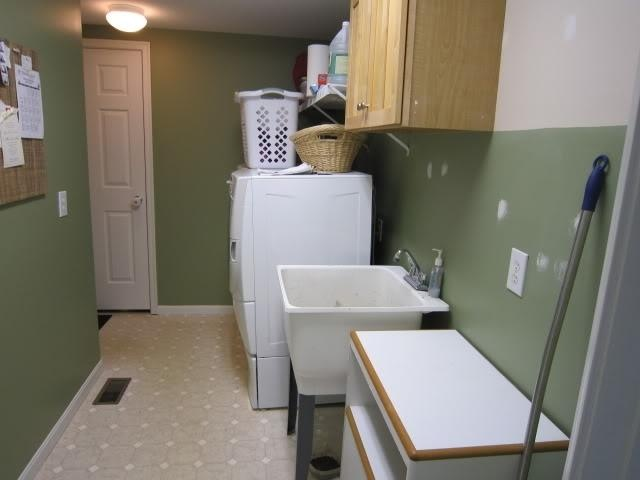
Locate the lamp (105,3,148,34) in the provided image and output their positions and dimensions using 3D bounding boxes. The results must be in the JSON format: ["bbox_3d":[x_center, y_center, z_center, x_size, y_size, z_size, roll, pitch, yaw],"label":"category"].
[{"bbox_3d":[-1.298,-1.486,3.192,0.239,0.140,0.205,-6,15,-24],"label":"lamp"}]

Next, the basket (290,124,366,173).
[{"bbox_3d":[0.035,-0.457,2.701,0.307,0.168,0.311,-5,5,-37],"label":"basket"}]

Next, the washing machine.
[{"bbox_3d":[-0.188,0.042,3.434,1.007,1.786,0.928,2,10,-2],"label":"washing machine"}]

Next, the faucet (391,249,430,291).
[{"bbox_3d":[0.415,0.132,2.246,0.078,0.120,0.279,-1,11,-4],"label":"faucet"}]

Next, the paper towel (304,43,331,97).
[{"bbox_3d":[-0.023,-1.040,2.948,0.148,0.299,0.393,0,14,-1],"label":"paper towel"}]

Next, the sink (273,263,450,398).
[{"bbox_3d":[0.137,0.229,2.195,0.558,0.421,0.869,1,6,-6],"label":"sink"}]

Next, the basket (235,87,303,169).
[{"bbox_3d":[-0.317,-0.684,3.188,0.496,0.542,0.499,-1,9,-9],"label":"basket"}]

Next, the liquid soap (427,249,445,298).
[{"bbox_3d":[0.503,0.137,2.085,0.063,0.216,0.081,4,14,14],"label":"liquid soap"}]
